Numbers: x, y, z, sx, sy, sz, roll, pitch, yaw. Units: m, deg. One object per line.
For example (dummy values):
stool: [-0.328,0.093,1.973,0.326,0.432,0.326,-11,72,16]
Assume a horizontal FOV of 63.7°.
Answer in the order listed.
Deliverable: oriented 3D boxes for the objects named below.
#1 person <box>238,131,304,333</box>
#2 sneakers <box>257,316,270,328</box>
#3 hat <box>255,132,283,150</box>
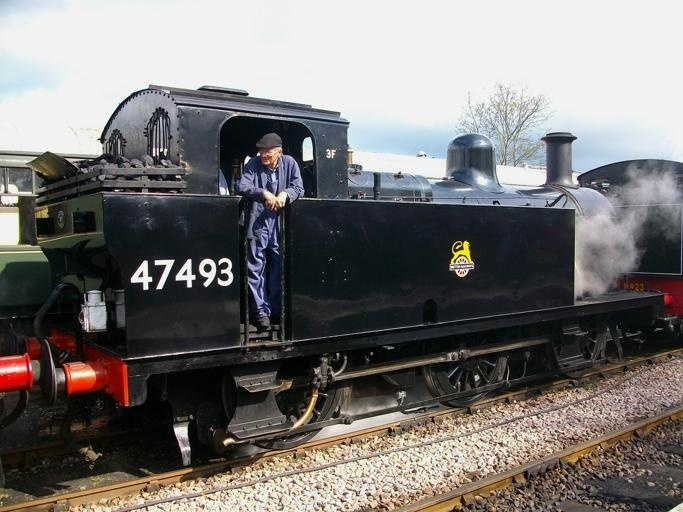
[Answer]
person: [-0.709,-0.261,5.513,0.641,1.921,0.561,-1,8,-8]
sneakers: [-0.762,0.650,5.391,0.131,0.139,0.074,-1,8,-9]
hat: [-0.732,-1.144,5.536,0.242,0.116,0.177,1,3,-31]
